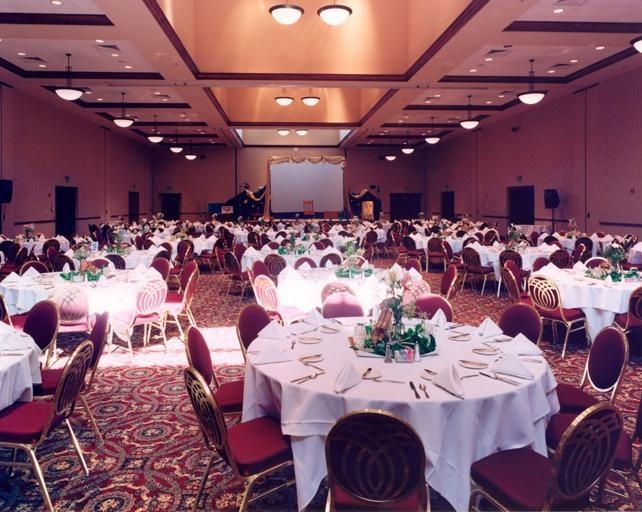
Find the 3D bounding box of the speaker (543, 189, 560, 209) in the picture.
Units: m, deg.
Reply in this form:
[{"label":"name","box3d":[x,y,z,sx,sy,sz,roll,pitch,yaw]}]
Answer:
[{"label":"speaker","box3d":[6.930,-1.739,14.660,0.526,0.749,0.420,-1,2,5]}]

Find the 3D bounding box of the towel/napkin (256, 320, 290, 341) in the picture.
[{"label":"towel/napkin","box3d":[-0.387,0.604,4.033,0.261,0.136,0.211,-1,5,-11]}]

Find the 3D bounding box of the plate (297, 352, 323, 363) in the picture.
[{"label":"plate","box3d":[-0.063,0.748,3.547,0.200,0.019,0.154,-5,7,-39]}]

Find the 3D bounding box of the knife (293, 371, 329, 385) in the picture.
[{"label":"knife","box3d":[-0.075,0.806,3.238,0.224,0.045,0.071,-11,24,-25]}]

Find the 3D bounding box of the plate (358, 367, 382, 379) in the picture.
[{"label":"plate","box3d":[0.342,0.790,3.285,0.136,0.023,0.196,1,5,8]}]

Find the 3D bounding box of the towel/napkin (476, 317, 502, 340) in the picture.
[{"label":"towel/napkin","box3d":[1.395,0.602,4.016,0.188,0.200,0.155,-2,-6,1]}]

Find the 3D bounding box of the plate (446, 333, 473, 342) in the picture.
[{"label":"plate","box3d":[1.131,0.661,3.942,0.216,0.021,0.153,-5,7,-44]}]

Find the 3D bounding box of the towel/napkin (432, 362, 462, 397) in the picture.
[{"label":"towel/napkin","box3d":[0.791,0.766,3.032,0.189,0.172,0.172,1,5,14]}]

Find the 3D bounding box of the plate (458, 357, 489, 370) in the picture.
[{"label":"plate","box3d":[1.058,0.760,3.401,0.199,0.020,0.167,2,6,21]}]

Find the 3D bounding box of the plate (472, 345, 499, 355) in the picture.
[{"label":"plate","box3d":[1.243,0.713,3.662,0.234,0.018,0.180,-5,7,-43]}]

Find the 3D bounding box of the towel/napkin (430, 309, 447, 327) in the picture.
[{"label":"towel/napkin","box3d":[1.040,0.541,4.307,0.146,0.123,0.221,0,5,7]}]

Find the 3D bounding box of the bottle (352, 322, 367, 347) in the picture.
[{"label":"bottle","box3d":[0.300,0.603,3.792,0.129,0.248,0.145,-1,4,10]}]

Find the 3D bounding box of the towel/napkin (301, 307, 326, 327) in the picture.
[{"label":"towel/napkin","box3d":[-0.054,0.542,4.361,0.203,0.143,0.190,-1,5,-5]}]

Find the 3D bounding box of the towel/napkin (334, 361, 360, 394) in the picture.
[{"label":"towel/napkin","box3d":[0.165,0.770,3.087,0.091,0.150,0.204,5,7,44]}]

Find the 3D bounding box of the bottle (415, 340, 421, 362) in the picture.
[{"label":"bottle","box3d":[0.706,0.695,3.551,0.043,0.109,0.145,1,5,12]}]

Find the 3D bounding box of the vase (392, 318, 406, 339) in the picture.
[{"label":"vase","box3d":[0.581,0.542,3.621,0.101,0.145,0.057,-3,6,-31]}]

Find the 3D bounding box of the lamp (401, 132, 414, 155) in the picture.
[{"label":"lamp","box3d":[3.936,-5.213,22.146,0.644,1.431,0.690,6,18,22]}]

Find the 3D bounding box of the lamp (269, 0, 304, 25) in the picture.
[{"label":"lamp","box3d":[-0.581,-4.144,8.175,0.519,0.325,0.406,-1,5,-9]}]

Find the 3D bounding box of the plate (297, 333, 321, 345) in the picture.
[{"label":"plate","box3d":[-0.095,0.678,3.965,0.204,0.019,0.244,0,5,4]}]

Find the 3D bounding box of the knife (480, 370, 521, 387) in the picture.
[{"label":"knife","box3d":[1.169,0.796,3.200,0.073,0.037,0.310,-34,31,-34]}]
